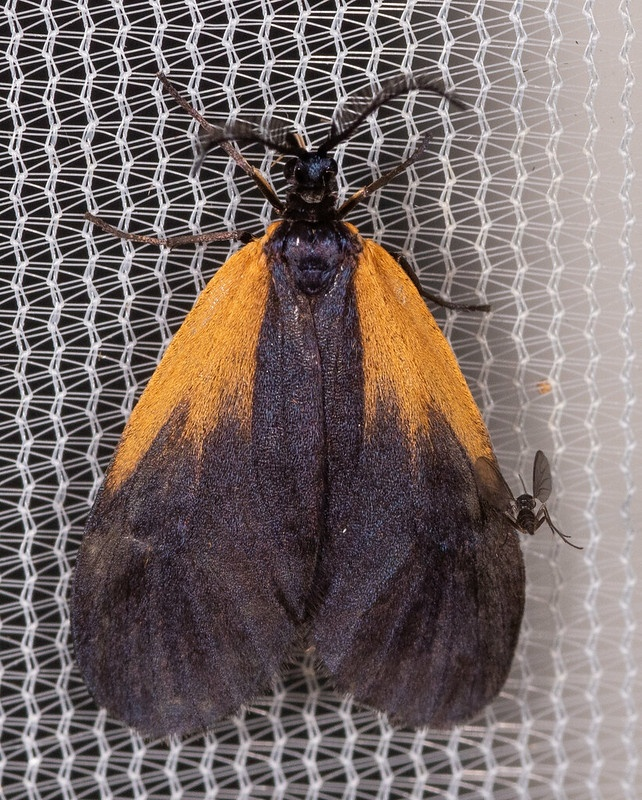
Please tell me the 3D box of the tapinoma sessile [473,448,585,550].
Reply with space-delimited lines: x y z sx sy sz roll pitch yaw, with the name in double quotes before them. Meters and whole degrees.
"tapinoma sessile" 0.464 0.239 2.292 0.283 0.131 0.242 5 67 -25
